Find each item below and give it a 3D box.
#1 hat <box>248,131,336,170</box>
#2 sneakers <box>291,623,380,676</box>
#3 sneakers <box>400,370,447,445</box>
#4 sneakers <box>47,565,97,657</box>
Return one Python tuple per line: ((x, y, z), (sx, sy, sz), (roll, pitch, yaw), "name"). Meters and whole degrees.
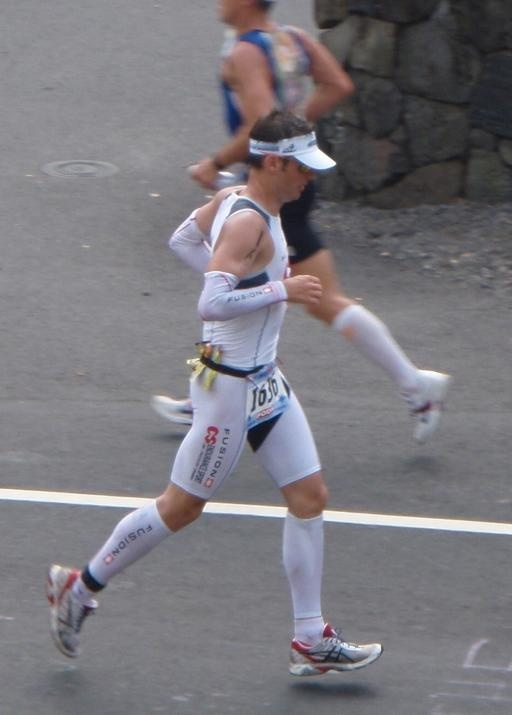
((0.122, -0.695, 3.845), (0.256, 0.067, 0.147), (10, 16, 17), "hat")
((0.329, 1.007, 3.952), (0.430, 0.185, 0.126), (-3, -5, -1), "sneakers")
((0.821, 0.237, 5.680), (0.235, 0.324, 0.175), (12, 10, -27), "sneakers")
((-0.633, 0.855, 3.970), (0.209, 0.321, 0.127), (-9, -6, 6), "sneakers")
